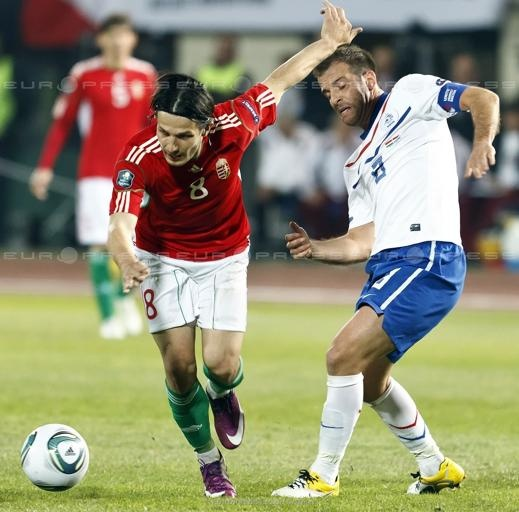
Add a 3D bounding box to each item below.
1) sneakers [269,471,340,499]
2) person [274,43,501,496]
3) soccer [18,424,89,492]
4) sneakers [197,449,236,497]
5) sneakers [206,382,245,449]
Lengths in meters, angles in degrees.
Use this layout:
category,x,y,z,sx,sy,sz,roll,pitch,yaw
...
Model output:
category,x,y,z,sx,sy,sz,roll,pitch,yaw
sneakers,0.231,1.134,5.189,0.351,0.146,0.119,2,-7,-11
person,0.652,0.035,5.347,1.035,2.311,0.748,2,3,9
soccer,-1.010,1.007,5.216,0.318,0.305,0.247,1,3,-13
sneakers,-0.212,1.101,5.284,0.186,0.175,0.323,1,4,-3
sneakers,-0.168,0.907,5.905,0.139,0.396,0.164,-17,7,5
